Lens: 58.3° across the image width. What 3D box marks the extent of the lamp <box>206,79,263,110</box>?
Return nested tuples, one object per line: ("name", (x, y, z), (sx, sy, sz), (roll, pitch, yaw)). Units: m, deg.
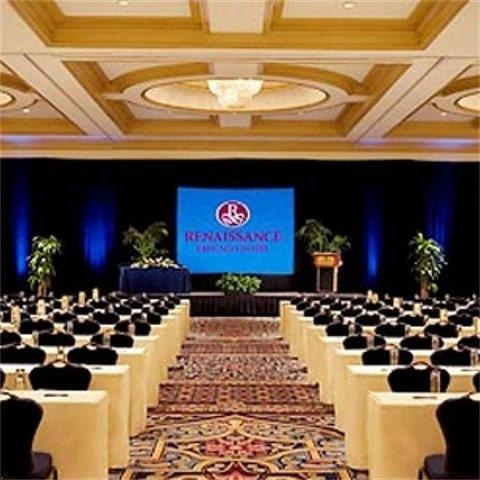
("lamp", (-0.140, -3.622, 10.601), (0.899, 0.473, 1.148), (-1, -8, 0))
